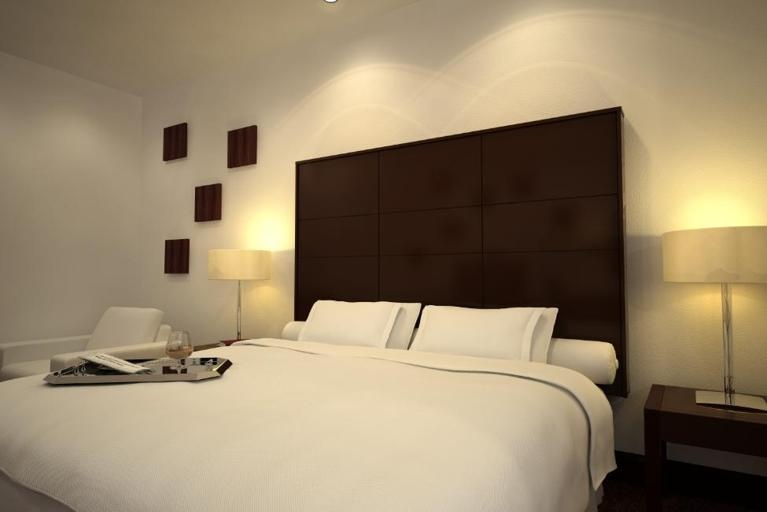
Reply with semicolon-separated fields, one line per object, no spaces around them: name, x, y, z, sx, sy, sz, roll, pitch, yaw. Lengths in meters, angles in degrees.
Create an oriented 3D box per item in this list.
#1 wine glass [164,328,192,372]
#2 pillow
wine glass;-1.286;0.577;3.326;0.150;0.219;0.427;-5;15;-22
pillow;0.490;0.537;3.863;2.309;0.438;0.415;6;15;22
